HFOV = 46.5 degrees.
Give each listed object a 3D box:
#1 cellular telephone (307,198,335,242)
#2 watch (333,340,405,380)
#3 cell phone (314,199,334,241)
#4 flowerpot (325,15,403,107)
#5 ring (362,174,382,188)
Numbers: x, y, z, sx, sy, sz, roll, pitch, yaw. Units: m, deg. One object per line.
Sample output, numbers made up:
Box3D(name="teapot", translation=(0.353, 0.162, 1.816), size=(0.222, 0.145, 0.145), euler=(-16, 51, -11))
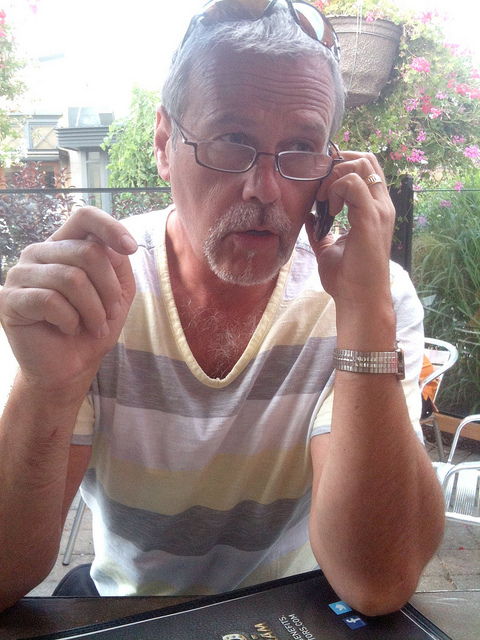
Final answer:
Box3D(name="cellular telephone", translation=(0.199, -0.249, 1.403), size=(0.060, 0.100, 0.024), euler=(14, 28, 24))
Box3D(name="watch", translation=(0.285, 0.091, 1.210), size=(0.119, 0.070, 0.117), euler=(3, -3, -1))
Box3D(name="cell phone", translation=(0.207, -0.242, 1.392), size=(0.054, 0.085, 0.020), euler=(21, 28, 34))
Box3D(name="flowerpot", translation=(0.685, -1.503, 3.306), size=(0.533, 0.400, 0.527), euler=(-6, 18, -42))
Box3D(name="ring", translation=(0.319, -0.337, 1.351), size=(0.043, 0.028, 0.047), euler=(-15, -10, 6))
